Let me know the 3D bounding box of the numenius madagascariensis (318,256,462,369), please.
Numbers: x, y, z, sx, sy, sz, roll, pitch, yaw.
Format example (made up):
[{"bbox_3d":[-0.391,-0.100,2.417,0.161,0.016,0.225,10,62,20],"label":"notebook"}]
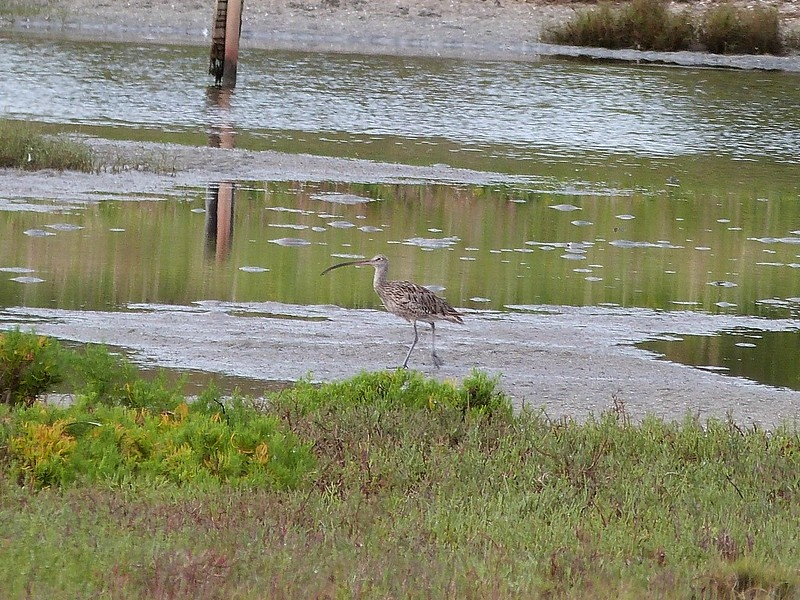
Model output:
[{"bbox_3d":[-0.065,0.136,14.480,1.601,1.160,0.458,2,-4,-17],"label":"numenius madagascariensis"}]
